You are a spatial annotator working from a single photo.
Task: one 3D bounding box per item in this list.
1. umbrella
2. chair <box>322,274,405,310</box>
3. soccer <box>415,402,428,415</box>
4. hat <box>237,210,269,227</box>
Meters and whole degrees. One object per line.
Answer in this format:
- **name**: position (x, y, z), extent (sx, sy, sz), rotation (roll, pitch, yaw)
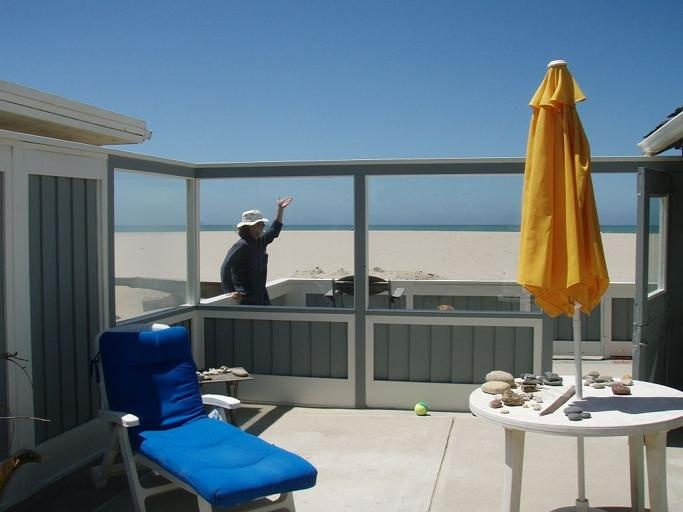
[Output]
- **umbrella**: position (1.538, -0.166, 4.668), extent (0.593, 2.317, 0.485), rotation (3, 11, 17)
- **chair**: position (0.278, 0.410, 7.233), extent (0.842, 0.492, 0.320), rotation (0, 14, 22)
- **soccer**: position (0.831, 1.565, 7.012), extent (0.133, 0.109, 0.180), rotation (0, 10, 5)
- **hat**: position (-0.944, -0.395, 7.243), extent (0.211, 0.100, 0.214), rotation (-17, -2, 37)
